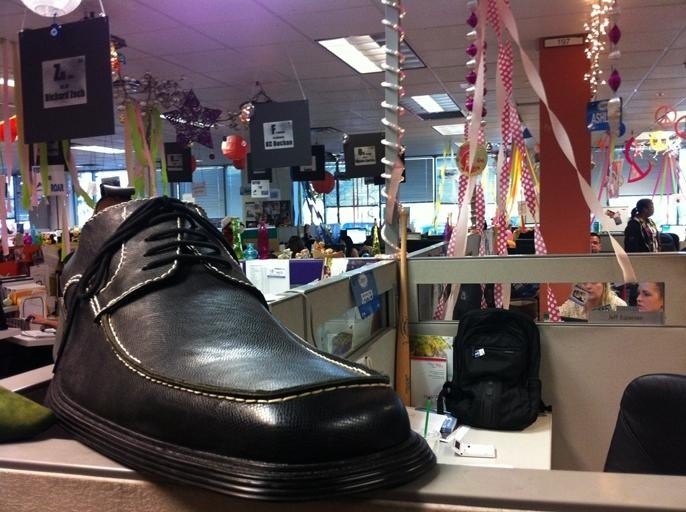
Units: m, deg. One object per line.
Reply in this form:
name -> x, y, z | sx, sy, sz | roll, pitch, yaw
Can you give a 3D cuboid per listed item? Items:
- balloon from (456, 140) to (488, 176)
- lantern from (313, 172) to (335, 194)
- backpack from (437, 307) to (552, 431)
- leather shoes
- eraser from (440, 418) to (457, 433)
balloon -> 0.447, -0.344, 1.971 | 0.103, 0.125, 0.242 | 0, 5, 11
lantern -> -0.352, -1.393, 10.736 | 0.388, 0.486, 0.404 | 1, 2, 2
backpack -> 0.493, 0.374, 1.832 | 0.356, 0.379, 0.199 | 0, 5, 21
leather shoes -> -0.165, 0.064, 0.660 | 0.213, 0.212, 0.542 | -4, 4, -40
eraser -> 0.299, 0.477, 1.604 | 0.022, 0.026, 0.094 | 20, 13, 19
